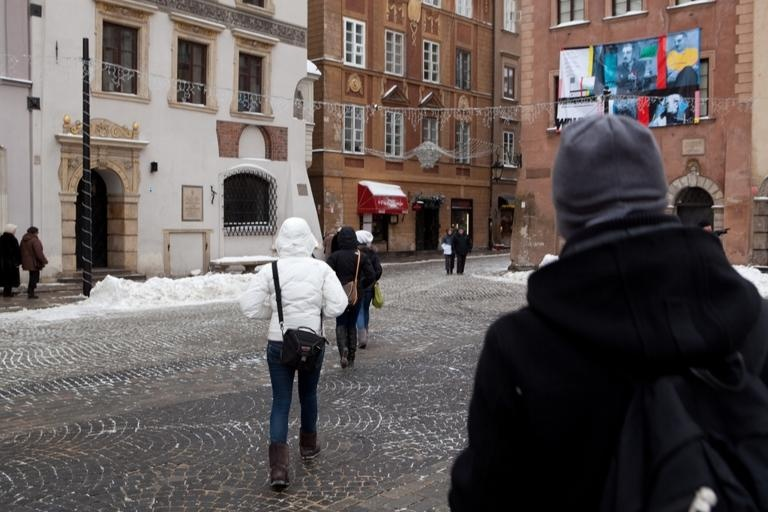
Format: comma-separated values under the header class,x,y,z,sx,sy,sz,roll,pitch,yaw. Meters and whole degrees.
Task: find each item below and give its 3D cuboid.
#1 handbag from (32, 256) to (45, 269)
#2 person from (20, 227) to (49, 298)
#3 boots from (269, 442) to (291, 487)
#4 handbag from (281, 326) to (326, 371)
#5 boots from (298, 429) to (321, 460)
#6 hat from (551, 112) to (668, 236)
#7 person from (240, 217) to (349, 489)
class,x,y,z,sx,sy,sz,roll,pitch,yaw
handbag,-8.827,0.167,20.375,0.327,0.462,0.220,-2,5,-42
person,-9.001,0.147,20.384,0.605,1.797,0.549,2,3,40
boots,-0.871,1.754,6.614,0.159,0.351,0.208,-1,3,-11
handbag,-0.720,0.809,6.931,0.303,0.338,0.155,7,-7,-24
boots,-0.682,1.736,7.300,0.122,0.278,0.275,1,17,5
hat,0.897,-0.340,3.333,0.349,0.545,0.505,-6,3,11
person,-0.855,0.775,7.122,0.696,2.229,1.066,1,3,31
